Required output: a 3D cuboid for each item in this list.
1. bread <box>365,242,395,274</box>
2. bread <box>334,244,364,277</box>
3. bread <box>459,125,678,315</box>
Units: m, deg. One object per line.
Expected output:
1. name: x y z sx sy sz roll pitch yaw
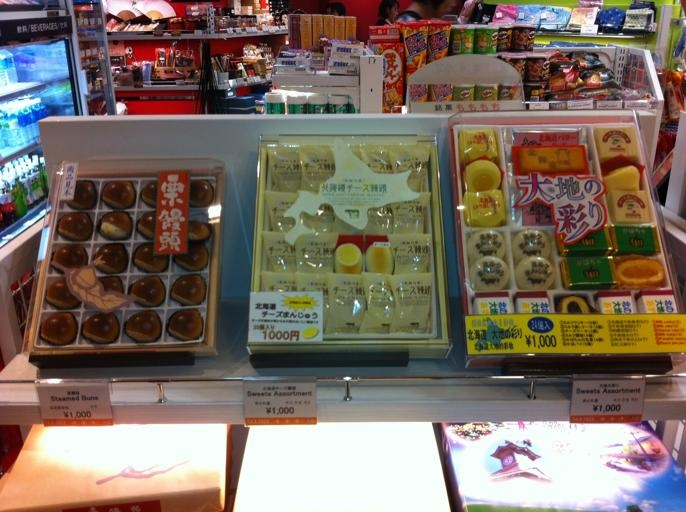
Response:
1. bread: 0.089 0.007 1.149 0.058 0.017 0.073 1 82 0
2. bread: 0.014 0.007 1.149 0.069 0.043 0.063 2 43 0
3. bread: 0.542 -0.119 1.120 0.462 0.113 0.487 -1 72 2
